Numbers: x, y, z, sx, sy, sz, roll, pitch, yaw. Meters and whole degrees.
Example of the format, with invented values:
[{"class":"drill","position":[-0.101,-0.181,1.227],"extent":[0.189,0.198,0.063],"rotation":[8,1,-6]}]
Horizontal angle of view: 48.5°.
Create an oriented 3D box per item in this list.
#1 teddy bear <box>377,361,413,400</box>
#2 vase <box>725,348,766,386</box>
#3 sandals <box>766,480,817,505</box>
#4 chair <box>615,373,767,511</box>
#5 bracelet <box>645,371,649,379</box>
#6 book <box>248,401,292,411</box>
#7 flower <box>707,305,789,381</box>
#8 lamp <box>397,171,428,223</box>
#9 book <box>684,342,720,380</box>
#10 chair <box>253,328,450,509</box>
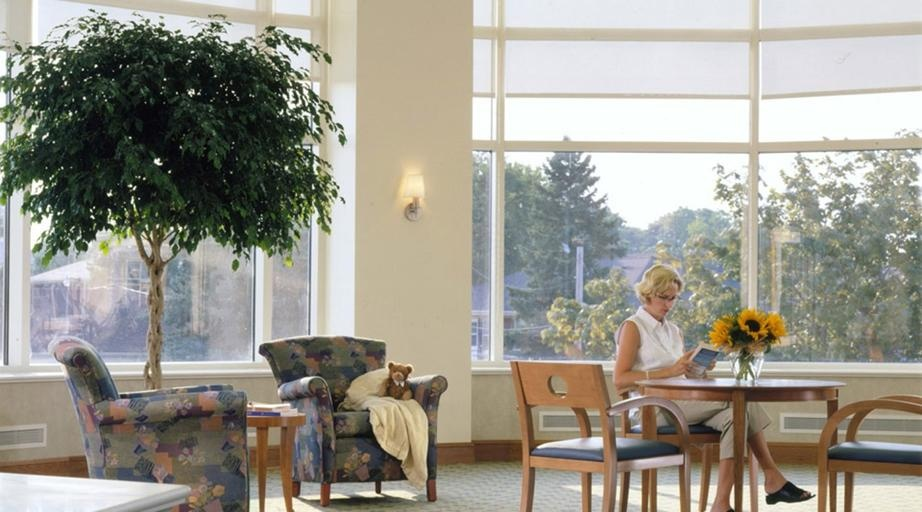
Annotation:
[{"class":"teddy bear","position":[-0.633,1.255,10.029],"extent":[0.297,0.398,0.282],"rotation":[7,-4,-1]},{"class":"vase","position":[2.536,0.990,9.138],"extent":[0.268,0.285,0.275],"rotation":[4,-6,-36]},{"class":"sandals","position":[2.861,2.095,8.991],"extent":[0.466,0.216,0.201],"rotation":[-7,-2,7]},{"class":"chair","position":[2.102,1.592,8.990],"extent":[1.142,0.946,1.200],"rotation":[4,-9,-38]},{"class":"bracelet","position":[1.646,1.056,9.035],"extent":[0.038,0.052,0.011],"rotation":[-2,-9,24]},{"class":"book","position":[-1.784,1.404,9.490],"extent":[0.181,0.055,0.195],"rotation":[0,-4,24]},{"class":"flower","position":[2.572,0.779,9.107],"extent":[0.665,0.714,0.442],"rotation":[4,-13,10]},{"class":"lamp","position":[-0.491,-0.627,10.945],"extent":[0.258,0.492,0.260],"rotation":[-3,-9,5]},{"class":"book","position":[2.108,0.934,8.997],"extent":[0.301,0.305,0.069],"rotation":[13,29,-27]},{"class":"chair","position":[-1.175,1.531,10.279],"extent":[1.731,1.688,1.596],"rotation":[4,-10,-30]}]
